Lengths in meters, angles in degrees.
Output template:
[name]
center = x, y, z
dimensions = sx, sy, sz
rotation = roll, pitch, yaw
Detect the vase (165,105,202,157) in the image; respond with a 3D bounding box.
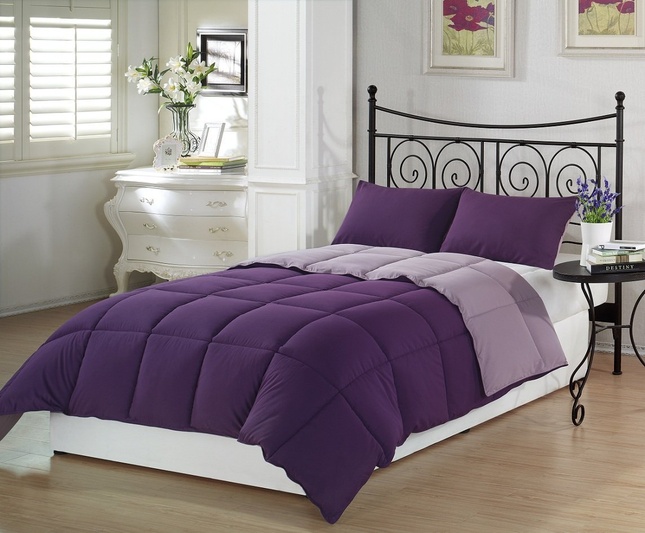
[vase]
center = -1.217, -1.166, 4.966
dimensions = 0.306, 0.450, 0.300
rotation = 1, 10, 7

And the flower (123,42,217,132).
[flower]
center = -1.301, -1.645, 4.953
dimensions = 0.703, 0.611, 0.570
rotation = -19, 18, -15

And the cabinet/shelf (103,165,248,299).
[cabinet/shelf]
center = -1.081, -0.309, 4.965
dimensions = 1.300, 0.992, 0.794
rotation = 3, 16, 5

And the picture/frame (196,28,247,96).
[picture/frame]
center = -0.856, -1.765, 4.946
dimensions = 0.552, 0.607, 0.046
rotation = 5, 7, 20
